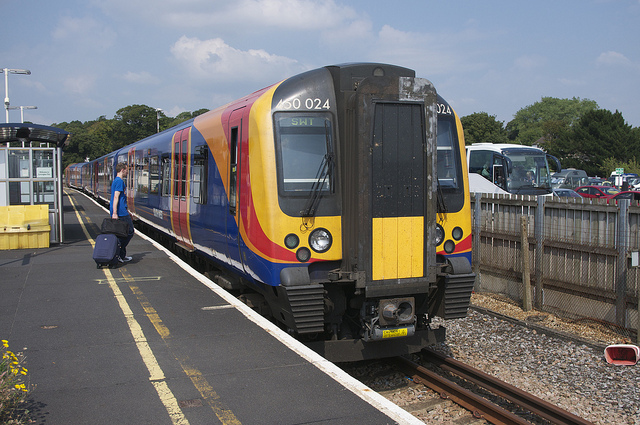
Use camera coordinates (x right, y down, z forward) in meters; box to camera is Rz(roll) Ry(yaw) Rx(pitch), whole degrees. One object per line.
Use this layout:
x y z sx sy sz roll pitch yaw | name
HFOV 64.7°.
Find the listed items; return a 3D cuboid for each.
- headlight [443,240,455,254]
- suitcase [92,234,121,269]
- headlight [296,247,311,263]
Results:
2.161 0.551 8.430 0.197 0.220 0.196 0 2 -19 | headlight
-5.110 0.911 12.083 0.583 0.837 0.458 5 -33 -11 | suitcase
-0.268 0.619 7.769 0.216 0.240 0.080 1 -1 -17 | headlight
